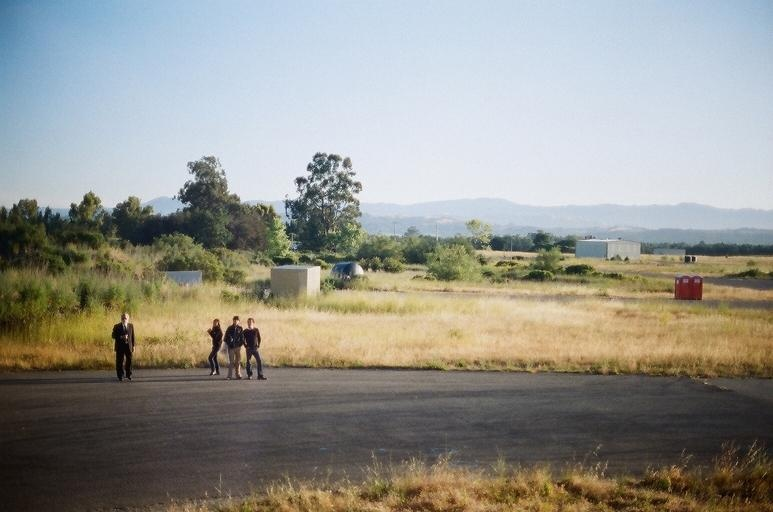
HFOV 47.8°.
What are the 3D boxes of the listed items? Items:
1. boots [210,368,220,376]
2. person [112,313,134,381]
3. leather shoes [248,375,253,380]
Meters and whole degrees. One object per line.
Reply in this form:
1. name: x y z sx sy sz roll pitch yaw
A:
1. boots: -6.636 4.453 33.623 0.323 0.386 0.206 -4 3 -11
2. person: -9.940 3.369 32.935 0.688 2.463 1.136 -4 12 -17
3. leather shoes: -5.217 4.600 33.152 0.237 0.157 0.143 -3 -13 -2
